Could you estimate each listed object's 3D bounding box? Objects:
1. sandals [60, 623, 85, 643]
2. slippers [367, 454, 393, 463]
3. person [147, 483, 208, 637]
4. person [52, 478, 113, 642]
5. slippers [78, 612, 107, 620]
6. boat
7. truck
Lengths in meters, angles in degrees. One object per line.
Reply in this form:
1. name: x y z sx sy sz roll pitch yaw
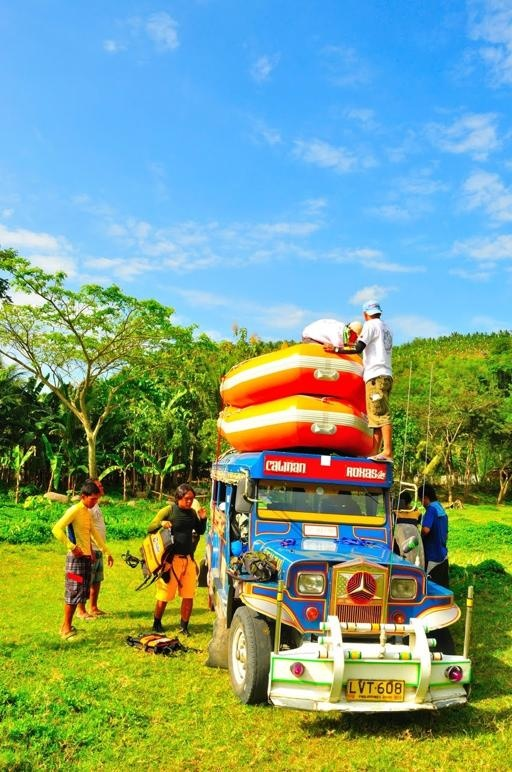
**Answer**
1. sandals: -2.119 2.849 7.149 0.100 0.133 0.291 28 -20 -4
2. slippers: 1.237 0.711 6.175 0.090 0.061 0.236 -11 -18 37
3. person: -0.938 2.069 7.470 0.504 1.760 0.690 -4 -9 35
4. person: -2.076 2.020 7.440 0.389 1.759 0.804 -1 -7 16
5. slippers: -2.181 3.035 8.309 0.367 0.145 0.128 -10 -17 34
6. boat: 0.379 0.188 6.967 0.939 0.735 1.794 4 -4 -8
7. truck: 0.578 1.760 5.642 1.507 1.385 3.035 3 -18 -5
